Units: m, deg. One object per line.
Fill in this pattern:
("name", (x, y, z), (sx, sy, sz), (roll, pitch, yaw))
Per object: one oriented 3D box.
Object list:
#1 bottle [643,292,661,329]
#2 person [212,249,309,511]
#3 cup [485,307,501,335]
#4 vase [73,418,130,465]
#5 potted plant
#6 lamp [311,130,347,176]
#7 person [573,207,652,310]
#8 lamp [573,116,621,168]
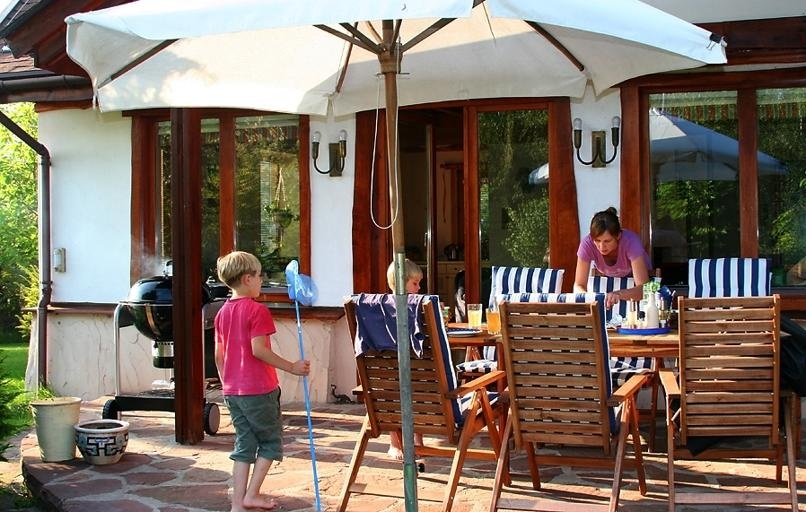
("bottle", (2.197, 0.471, 7.545), (0.187, 0.300, 0.152), (-2, -1, -12))
("person", (-1.202, 1.010, 6.913), (0.575, 1.533, 0.230), (-2, -1, -1))
("cup", (0.803, 0.583, 7.703), (0.182, 0.241, 0.175), (-1, -3, 0))
("vase", (-2.746, 1.682, 7.851), (0.376, 0.271, 0.391), (-1, -2, 24))
("potted plant", (-3.104, 1.602, 7.983), (0.501, 0.575, 0.508), (0, -6, -1))
("lamp", (-0.817, -1.140, 9.730), (0.452, 0.570, 0.322), (-2, -7, 17))
("person", (2.067, -0.022, 8.588), (0.753, 0.892, 1.221), (-1, 16, 25))
("lamp", (2.065, -1.190, 9.086), (0.496, 0.539, 0.284), (-1, -3, 11))
